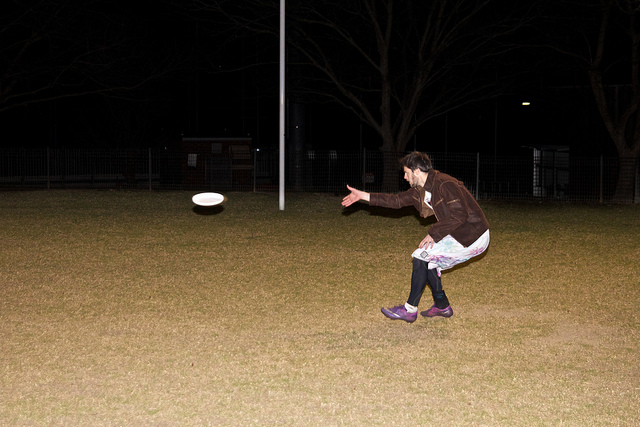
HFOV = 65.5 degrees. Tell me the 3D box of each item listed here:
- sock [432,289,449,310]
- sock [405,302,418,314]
[{"bbox_3d":[1.683,1.203,6.983,0.197,0.332,0.265,1,7,19],"label":"sock"},{"bbox_3d":[1.231,1.299,6.815,0.119,0.111,0.145,10,1,1],"label":"sock"}]
